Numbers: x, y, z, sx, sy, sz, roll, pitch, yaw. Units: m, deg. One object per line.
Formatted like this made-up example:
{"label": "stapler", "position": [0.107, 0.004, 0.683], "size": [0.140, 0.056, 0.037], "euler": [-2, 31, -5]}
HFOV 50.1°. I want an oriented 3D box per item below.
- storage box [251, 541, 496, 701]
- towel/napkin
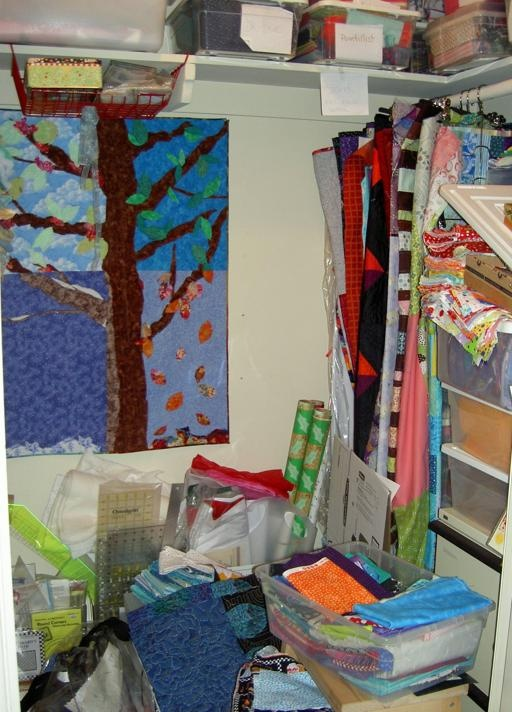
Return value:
{"label": "storage box", "position": [0.166, 0.418, 0.953], "size": [0.257, 0.138, 0.351], "euler": [-2, 4, -25]}
{"label": "towel/napkin", "position": [0.240, 0.408, 0.831], "size": [0.225, 0.093, 0.168], "euler": [-7, 7, -42]}
